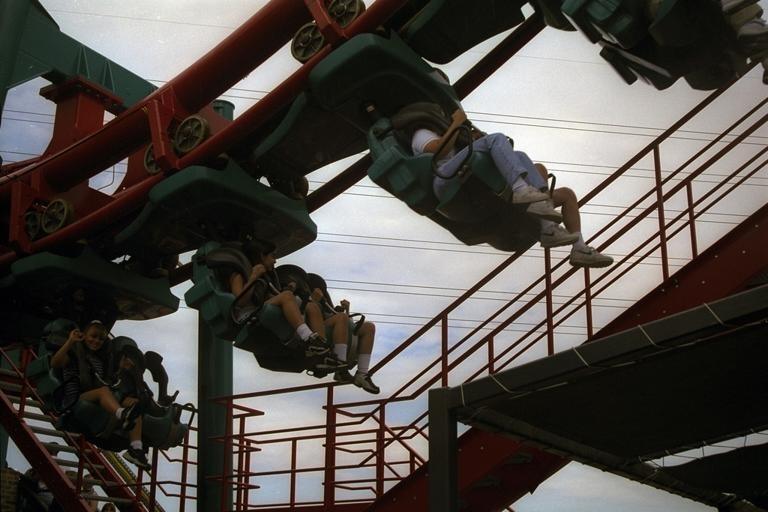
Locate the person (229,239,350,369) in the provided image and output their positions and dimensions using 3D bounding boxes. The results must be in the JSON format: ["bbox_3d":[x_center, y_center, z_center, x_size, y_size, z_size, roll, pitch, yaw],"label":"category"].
[{"bbox_3d":[-1.683,0.977,19.517,1.515,1.917,0.980,-27,-33,14],"label":"person"}]

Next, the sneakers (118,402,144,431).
[{"bbox_3d":[-4.565,2.936,21.163,0.252,0.586,0.230,18,-3,40],"label":"sneakers"}]

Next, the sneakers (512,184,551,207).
[{"bbox_3d":[2.227,-0.904,17.804,0.609,0.293,0.255,-4,5,15],"label":"sneakers"}]
